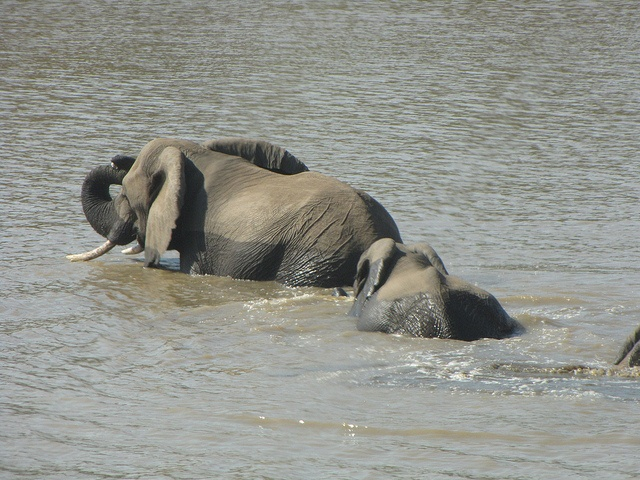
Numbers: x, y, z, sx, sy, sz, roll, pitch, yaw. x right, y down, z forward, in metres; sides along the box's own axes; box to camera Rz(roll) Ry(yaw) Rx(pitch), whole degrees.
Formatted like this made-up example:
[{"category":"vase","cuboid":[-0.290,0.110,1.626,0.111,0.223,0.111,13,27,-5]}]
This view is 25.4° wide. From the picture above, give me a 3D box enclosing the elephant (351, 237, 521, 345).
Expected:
[{"category":"elephant","cuboid":[1.153,0.691,17.412,1.646,1.163,2.518,-8,26,-16]}]
